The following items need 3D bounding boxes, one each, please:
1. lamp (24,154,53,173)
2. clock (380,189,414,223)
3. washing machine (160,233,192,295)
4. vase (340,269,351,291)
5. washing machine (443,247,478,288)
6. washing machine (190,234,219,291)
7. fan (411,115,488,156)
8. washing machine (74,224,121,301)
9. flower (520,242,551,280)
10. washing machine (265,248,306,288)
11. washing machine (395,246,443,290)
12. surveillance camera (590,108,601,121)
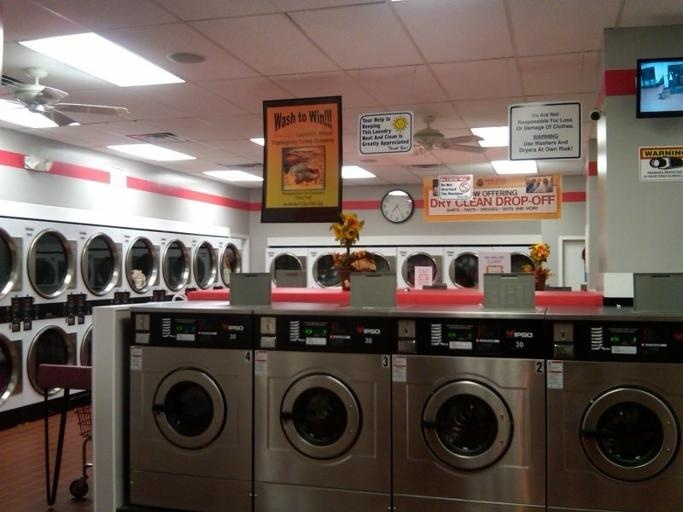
[{"bbox_3d":[-4.285,-1.295,7.544,0.160,0.212,0.453,0,-4,18],"label":"lamp"},{"bbox_3d":[1.301,-1.139,12.151,0.723,0.808,0.134,0,-2,11],"label":"clock"},{"bbox_3d":[-2.879,0.169,9.113,0.282,0.884,0.729,0,-4,12],"label":"washing machine"},{"bbox_3d":[0.025,0.204,4.433,0.056,0.166,0.102,2,-4,-19],"label":"vase"},{"bbox_3d":[2.554,0.268,11.395,0.787,0.966,0.476,1,-2,-10],"label":"washing machine"},{"bbox_3d":[-2.582,0.101,9.862,0.297,1.093,0.918,-2,-6,21],"label":"washing machine"},{"bbox_3d":[1.393,-1.619,7.084,0.866,0.454,0.810,0,-4,12],"label":"fan"},{"bbox_3d":[-3.539,0.121,7.636,0.346,0.913,0.665,0,-4,13],"label":"washing machine"},{"bbox_3d":[2.723,0.181,7.452,0.380,0.540,0.299,2,2,-15],"label":"flower"},{"bbox_3d":[-0.920,0.156,8.937,0.643,0.966,0.509,-1,-8,5],"label":"washing machine"},{"bbox_3d":[1.729,0.151,11.759,1.175,1.207,0.808,0,-10,3],"label":"washing machine"},{"bbox_3d":[2.312,-1.274,4.830,0.076,0.105,0.095,6,38,10],"label":"surveillance camera"}]
